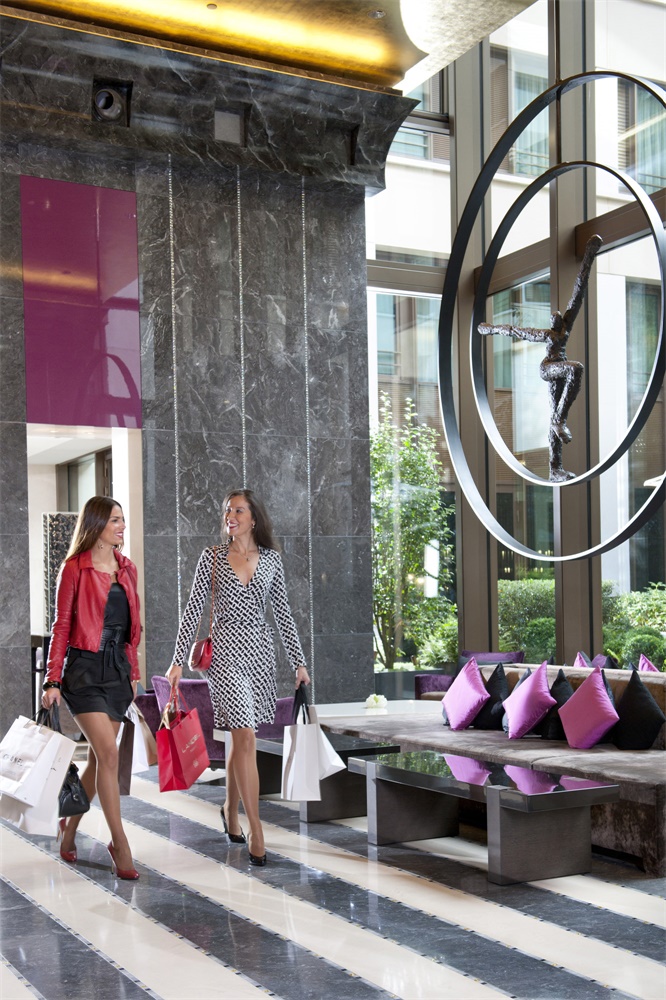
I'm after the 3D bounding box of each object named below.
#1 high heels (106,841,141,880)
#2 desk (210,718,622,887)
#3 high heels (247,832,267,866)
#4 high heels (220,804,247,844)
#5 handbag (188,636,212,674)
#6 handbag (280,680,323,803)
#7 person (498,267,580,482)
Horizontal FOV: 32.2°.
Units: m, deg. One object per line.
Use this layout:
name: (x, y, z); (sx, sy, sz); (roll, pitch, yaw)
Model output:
high heels: (-0.806, 1.412, 4.471); (0.060, 0.094, 0.196); (8, -4, -37)
desk: (0.383, 1.305, 5.039); (0.616, 0.404, 2.158); (0, -4, -31)
high heels: (-0.308, 1.399, 4.641); (0.071, 0.120, 0.191); (-1, -4, -4)
high heels: (-0.458, 1.473, 5.176); (0.070, 0.113, 0.240); (8, -7, -25)
handbag: (-0.555, 0.637, 4.821); (0.043, 0.154, 0.103); (11, -30, -14)
handbag: (-0.140, 1.028, 4.829); (0.151, 0.505, 0.264); (-1, -4, -2)
person: (1.286, -0.708, 7.236); (0.609, 1.244, 1.550); (-2, -4, 11)
